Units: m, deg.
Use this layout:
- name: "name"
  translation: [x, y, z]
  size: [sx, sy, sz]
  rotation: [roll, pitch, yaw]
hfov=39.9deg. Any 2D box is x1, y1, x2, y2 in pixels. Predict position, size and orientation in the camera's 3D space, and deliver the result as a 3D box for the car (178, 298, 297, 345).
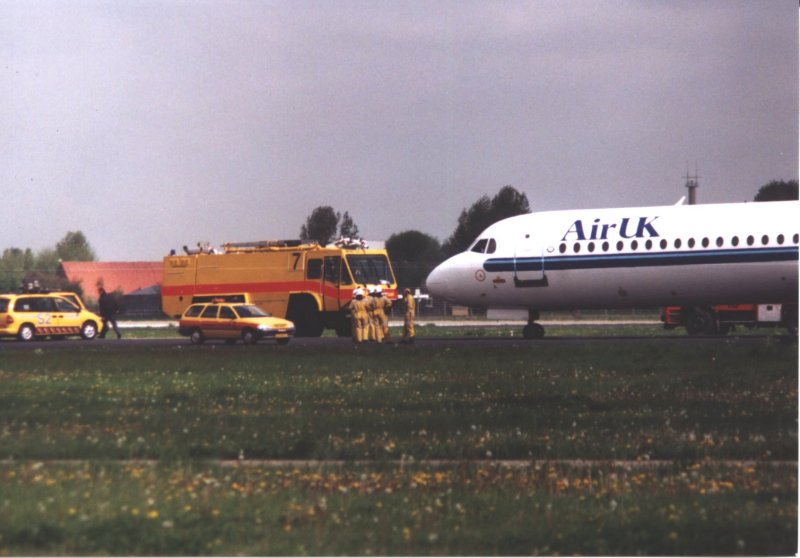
- name: "car"
  translation: [-6.364, 1.667, 41.336]
  size: [4.137, 1.546, 1.721]
  rotation: [0, 0, 20]
